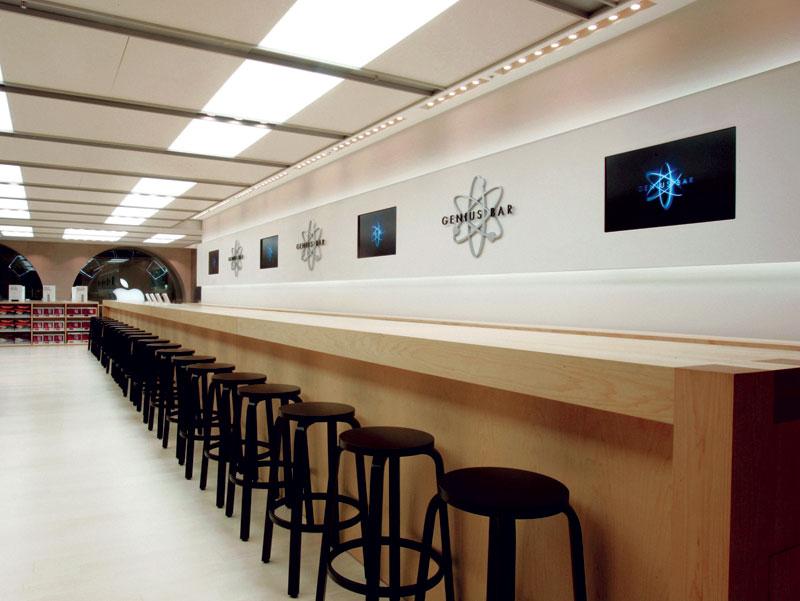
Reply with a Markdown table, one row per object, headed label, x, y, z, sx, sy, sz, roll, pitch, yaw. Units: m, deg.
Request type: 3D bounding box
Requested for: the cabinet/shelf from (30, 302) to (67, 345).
| label | x | y | z | sx | sy | sz | roll | pitch | yaw |
| --- | --- | --- | --- | --- | --- | --- | --- | --- | --- |
| cabinet/shelf | -8.872 | 0.570 | 13.368 | 0.929 | 1.526 | 0.417 | 1 | 3 | -30 |
